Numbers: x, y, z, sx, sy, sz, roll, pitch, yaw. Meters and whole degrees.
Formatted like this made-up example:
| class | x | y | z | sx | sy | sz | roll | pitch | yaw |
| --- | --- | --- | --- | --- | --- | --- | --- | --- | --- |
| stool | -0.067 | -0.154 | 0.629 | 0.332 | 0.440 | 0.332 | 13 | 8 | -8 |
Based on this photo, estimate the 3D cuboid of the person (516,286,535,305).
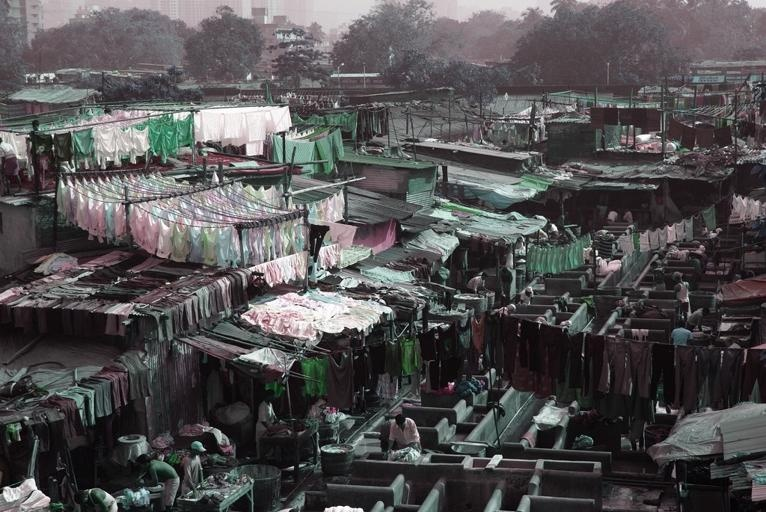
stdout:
| class | x | y | z | sx | sy | sz | roll | pitch | yaw |
| --- | --- | --- | --- | --- | --- | --- | --- | --- | --- |
| person | 5.492 | 1.599 | 39.597 | 0.671 | 0.649 | 1.901 | -1 | 9 | 8 |

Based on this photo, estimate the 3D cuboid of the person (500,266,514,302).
| class | x | y | z | sx | sy | sz | roll | pitch | yaw |
| --- | --- | --- | --- | --- | --- | --- | --- | --- | --- |
| person | 4.945 | 1.138 | 40.900 | 0.482 | 1.332 | 1.195 | -1 | 9 | 7 |

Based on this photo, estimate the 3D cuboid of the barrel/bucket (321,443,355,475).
| class | x | y | z | sx | sy | sz | roll | pitch | yaw |
| --- | --- | --- | --- | --- | --- | --- | --- | --- | --- |
| barrel/bucket | -1.333 | 5.986 | 29.694 | 0.807 | 0.629 | 0.829 | 0 | -4 | 0 |

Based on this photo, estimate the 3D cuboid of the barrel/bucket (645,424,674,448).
| class | x | y | z | sx | sy | sz | roll | pitch | yaw |
| --- | --- | --- | --- | --- | --- | --- | --- | --- | --- |
| barrel/bucket | 8.397 | 5.582 | 31.375 | 0.703 | 0.519 | 0.989 | 2 | 10 | 22 |

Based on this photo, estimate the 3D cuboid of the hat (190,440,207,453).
| class | x | y | z | sx | sy | sz | roll | pitch | yaw |
| --- | --- | --- | --- | --- | --- | --- | --- | --- | --- |
| hat | -5.059 | 5.360 | 28.247 | 0.330 | 0.228 | 0.437 | 10 | 8 | 39 |
